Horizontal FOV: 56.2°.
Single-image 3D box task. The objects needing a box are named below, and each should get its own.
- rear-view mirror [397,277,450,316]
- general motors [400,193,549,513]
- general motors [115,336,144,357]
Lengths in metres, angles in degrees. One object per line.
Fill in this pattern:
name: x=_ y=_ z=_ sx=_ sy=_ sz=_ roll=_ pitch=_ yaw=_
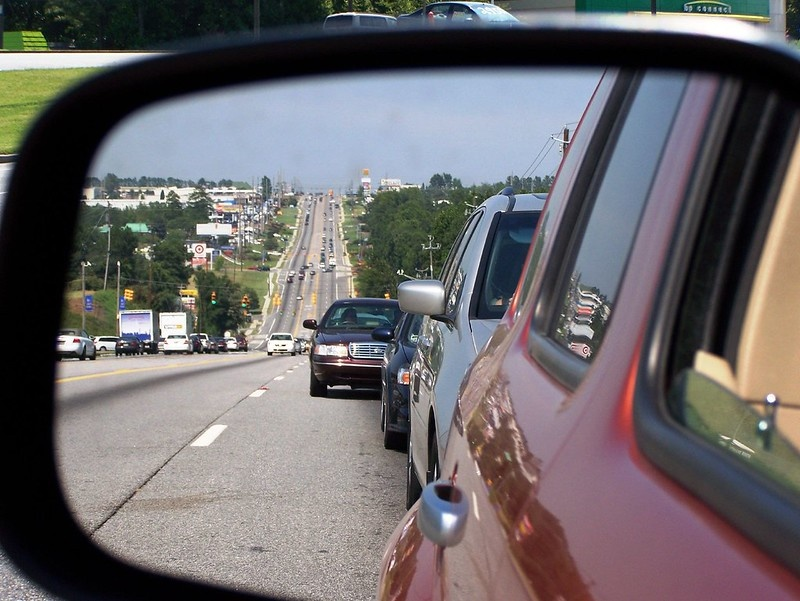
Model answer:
rear-view mirror: x=0.135 y=-0.017 z=4.480 sx=0.289 sy=0.259 sz=0.179 roll=1 pitch=0 yaw=1
general motors: x=0.485 y=0.028 z=4.605 sx=0.839 sy=1.089 sz=2.039 roll=1 pitch=-4 yaw=-2
general motors: x=-18.482 y=3.047 z=50.877 sx=0.981 sy=0.901 sz=2.435 roll=1 pitch=-10 yaw=-4
